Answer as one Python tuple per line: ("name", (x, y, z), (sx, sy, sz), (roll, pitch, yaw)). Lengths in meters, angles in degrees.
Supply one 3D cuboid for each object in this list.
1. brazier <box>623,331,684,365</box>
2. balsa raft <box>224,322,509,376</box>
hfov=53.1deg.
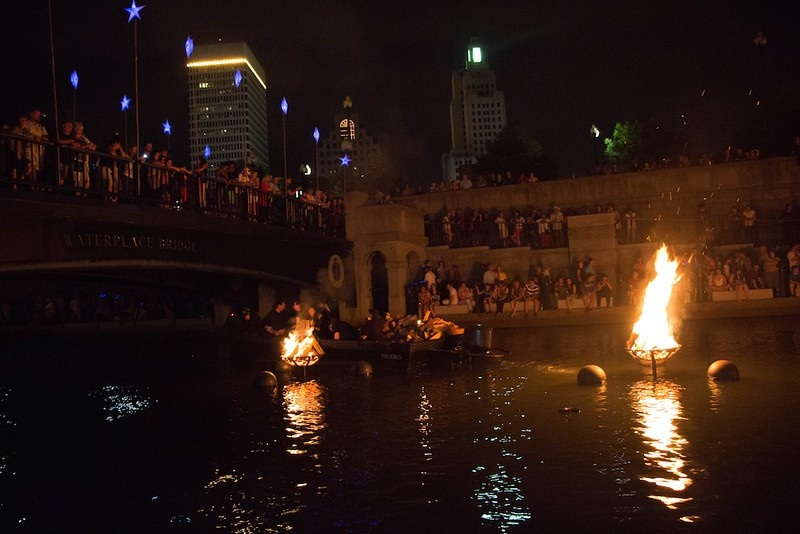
("brazier", (7.269, 2.470, 22.968), (1.152, 0.496, 1.208), (-1, -1, -1))
("balsa raft", (-1.649, 2.877, 26.684), (5.455, 1.070, 3.354), (-5, -11, 23))
